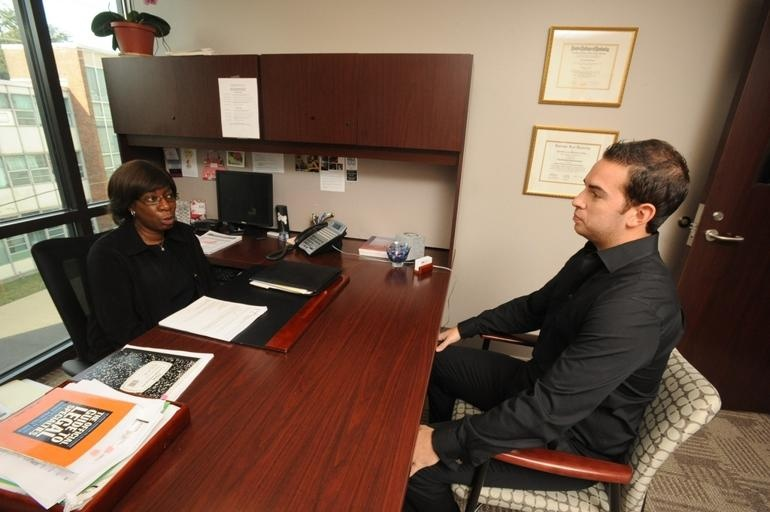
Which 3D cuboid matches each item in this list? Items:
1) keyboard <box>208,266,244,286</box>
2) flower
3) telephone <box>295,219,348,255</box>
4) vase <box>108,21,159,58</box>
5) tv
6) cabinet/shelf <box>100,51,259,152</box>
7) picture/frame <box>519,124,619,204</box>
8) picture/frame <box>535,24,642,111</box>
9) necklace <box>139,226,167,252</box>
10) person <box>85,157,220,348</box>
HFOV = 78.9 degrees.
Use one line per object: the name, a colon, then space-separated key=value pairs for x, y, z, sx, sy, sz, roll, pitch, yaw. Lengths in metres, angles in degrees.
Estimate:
keyboard: x=-1.072 y=0.126 z=3.155 sx=0.240 sy=0.053 sz=0.161 roll=6 pitch=11 yaw=27
flower: x=-1.663 y=-1.459 z=3.097 sx=0.373 sy=0.242 sz=0.368 roll=8 pitch=16 yaw=16
telephone: x=-0.413 y=-0.132 z=3.155 sx=0.271 sy=0.088 sz=0.227 roll=-29 pitch=40 yaw=-28
vase: x=-1.629 y=-1.408 z=3.038 sx=0.221 sy=0.150 sz=0.210 roll=2 pitch=16 yaw=-4
tv: x=-1.008 y=-0.374 z=3.369 sx=0.495 sy=0.463 sz=0.184 roll=6 pitch=16 yaw=15
cabinet/shelf: x=-1.394 y=-1.049 z=3.156 sx=1.107 sy=0.496 sz=0.548 roll=1 pitch=13 yaw=8
picture/frame: x=1.137 y=-0.590 z=2.869 sx=0.680 sy=0.530 sz=0.043 roll=5 pitch=21 yaw=8
picture/frame: x=1.303 y=-1.203 z=2.939 sx=0.546 sy=0.436 sz=0.034 roll=6 pitch=16 yaw=4
necklace: x=-1.316 y=-0.096 z=2.665 sx=0.126 sy=0.083 sz=0.121 roll=2 pitch=7 yaw=1
person: x=-1.360 y=-0.047 z=2.726 sx=0.675 sy=1.001 sz=0.700 roll=24 pitch=32 yaw=24
